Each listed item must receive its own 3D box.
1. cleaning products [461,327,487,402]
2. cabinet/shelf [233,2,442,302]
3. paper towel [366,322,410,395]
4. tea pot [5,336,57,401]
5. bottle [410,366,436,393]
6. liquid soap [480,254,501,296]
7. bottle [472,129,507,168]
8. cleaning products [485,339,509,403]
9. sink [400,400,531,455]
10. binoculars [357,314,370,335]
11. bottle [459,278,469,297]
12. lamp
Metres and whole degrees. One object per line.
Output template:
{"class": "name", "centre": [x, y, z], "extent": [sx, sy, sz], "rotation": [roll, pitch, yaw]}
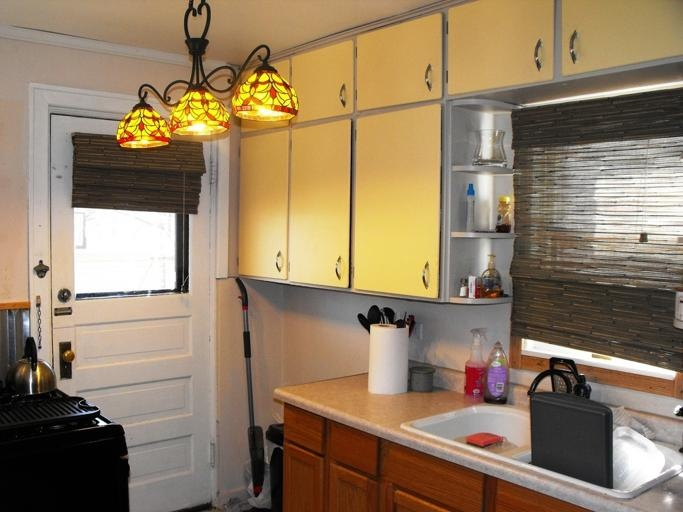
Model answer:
{"class": "cleaning products", "centre": [0.713, 0.549, 2.805], "extent": [0.111, 0.335, 0.246], "rotation": [0, 5, 14]}
{"class": "cabinet/shelf", "centre": [0.015, -0.614, 2.944], "extent": [0.489, 1.341, 1.485], "rotation": [-4, 7, -44]}
{"class": "paper towel", "centre": [0.254, 0.554, 2.835], "extent": [0.212, 0.362, 0.104], "rotation": [-1, 5, 4]}
{"class": "tea pot", "centre": [-1.508, 0.528, 2.615], "extent": [0.258, 0.284, 0.252], "rotation": [1, 3, 0]}
{"class": "bottle", "centre": [0.437, 0.668, 2.877], "extent": [0.116, 0.097, 0.128], "rotation": [1, 7, 10]}
{"class": "liquid soap", "centre": [0.766, 0.101, 2.693], "extent": [0.106, 0.204, 0.194], "rotation": [0, 5, 15]}
{"class": "bottle", "centre": [0.762, -0.542, 2.726], "extent": [0.188, 0.188, 0.191], "rotation": [-1, 5, -12]}
{"class": "cleaning products", "centre": [0.791, 0.596, 2.686], "extent": [0.127, 0.315, 0.076], "rotation": [0, 10, 8]}
{"class": "sink", "centre": [0.584, 0.798, 2.442], "extent": [0.382, 0.157, 0.308], "rotation": [-3, 7, -42]}
{"class": "binoculars", "centre": [0.139, 0.395, 3.174], "extent": [0.056, 0.147, 0.038], "rotation": [-6, 33, 20]}
{"class": "bottle", "centre": [0.612, 0.157, 2.631], "extent": [0.039, 0.083, 0.057], "rotation": [0, 5, 14]}
{"class": "lamp", "centre": [-0.752, -0.987, 2.888], "extent": [0.818, 0.769, 0.265], "rotation": [-1, 4, 36]}
